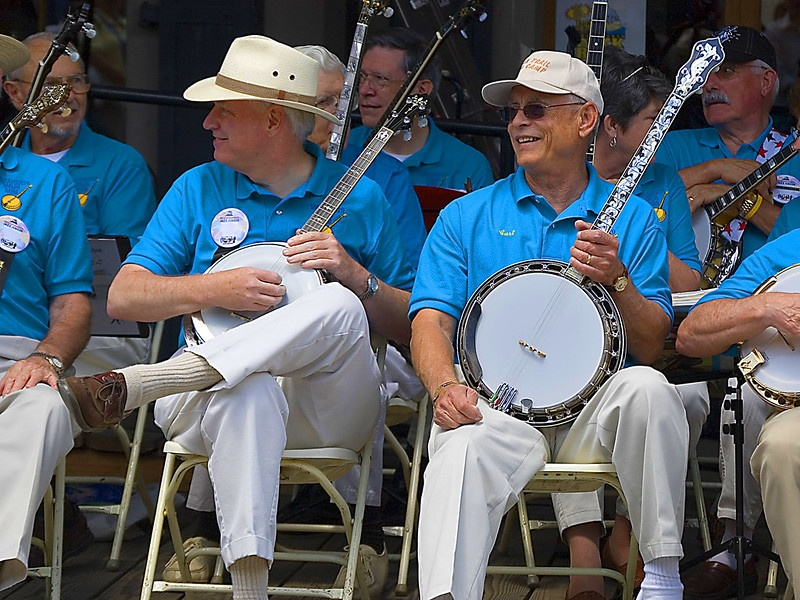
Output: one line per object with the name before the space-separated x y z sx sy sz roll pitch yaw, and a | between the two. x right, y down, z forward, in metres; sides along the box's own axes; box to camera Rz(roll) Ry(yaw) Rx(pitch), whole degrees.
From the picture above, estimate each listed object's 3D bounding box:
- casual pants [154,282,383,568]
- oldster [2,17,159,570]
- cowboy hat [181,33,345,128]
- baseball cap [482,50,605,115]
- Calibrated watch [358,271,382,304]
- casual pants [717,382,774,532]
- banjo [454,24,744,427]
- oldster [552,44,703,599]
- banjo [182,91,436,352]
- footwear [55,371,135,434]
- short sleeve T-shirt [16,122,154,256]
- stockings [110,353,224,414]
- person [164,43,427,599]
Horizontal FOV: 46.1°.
casual pants | -0.365 0.326 3.039 0.584 0.941 0.345 -30 -32 25
oldster | -1.461 -0.044 4.339 0.930 2.333 0.347 -1 -6 1
cowboy hat | -0.494 -0.822 3.515 0.416 0.181 0.334 7 10 -34
baseball cap | 0.487 -0.768 3.359 0.277 0.175 0.362 -28 43 -26
Calibrated watch | -0.105 -0.048 3.370 0.087 0.069 0.036 -35 -46 20
casual pants | 1.240 0.566 3.403 0.246 0.486 0.097 8 9 11
banjo | 0.736 -0.168 3.361 0.574 1.547 0.202 31 -6 16
oldster | 1.034 -0.051 3.906 0.789 2.120 0.323 2 -7 -21
banjo | -0.276 -0.292 3.462 0.469 1.240 0.126 30 -33 21
footwear | -0.945 0.297 2.990 0.175 0.148 0.363 47 5 8
short sleeve T-shirt | -1.446 -0.570 4.673 0.519 0.875 0.314 2 -12 -7
stockings | -0.791 0.250 2.994 0.494 0.145 0.129 -11 -10 -1
person | -0.201 -0.023 3.533 1.123 2.094 0.404 9 -13 11
